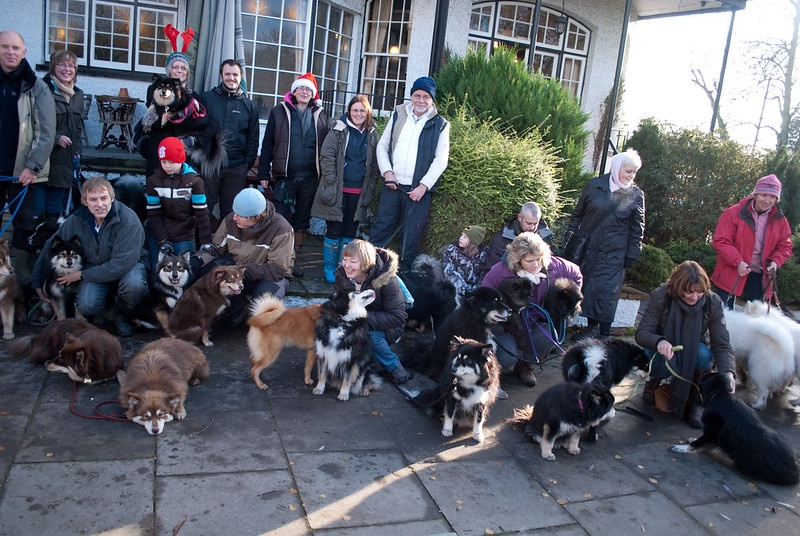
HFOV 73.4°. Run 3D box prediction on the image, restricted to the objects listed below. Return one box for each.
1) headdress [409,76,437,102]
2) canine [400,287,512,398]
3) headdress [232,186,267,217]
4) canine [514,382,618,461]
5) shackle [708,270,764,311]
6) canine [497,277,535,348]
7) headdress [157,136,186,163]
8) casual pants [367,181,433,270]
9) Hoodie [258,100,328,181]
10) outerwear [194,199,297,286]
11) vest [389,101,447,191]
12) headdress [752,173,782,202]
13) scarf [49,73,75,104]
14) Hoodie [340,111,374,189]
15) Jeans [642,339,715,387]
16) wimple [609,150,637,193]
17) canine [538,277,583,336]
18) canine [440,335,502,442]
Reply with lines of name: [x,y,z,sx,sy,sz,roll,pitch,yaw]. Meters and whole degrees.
headdress: [0.350,-2.663,7.803,0.364,0.316,0.383,12,-1,-4]
canine: [0.886,0.612,6.359,1.244,1.250,0.821,24,27,12]
headdress: [-1.771,-0.833,6.439,0.287,0.228,0.364,12,34,-14]
canine: [1.504,1.352,5.412,0.992,0.719,0.480,24,20,39]
shackle: [4.538,0.287,7.242,0.529,0.163,0.143,-23,9,18]
canine: [1.331,0.502,6.214,0.393,0.719,0.545,-8,23,-2]
headdress: [-2.762,-1.439,6.577,0.294,0.260,0.316,18,15,-15]
casual pants: [0.035,-0.601,7.536,0.695,1.469,0.397,28,22,12]
Hoodie: [-1.521,-1.810,7.808,1.332,1.292,0.711,-2,8,-28]
outerwear: [-1.835,-0.340,6.620,0.999,0.895,0.439,11,16,12]
vest: [0.255,-1.706,7.699,0.998,1.121,0.600,17,11,12]
headdress: [4.981,-1.112,7.264,0.268,0.288,0.280,19,19,37]
scarf: [-4.402,-2.331,7.008,0.258,0.183,0.326,3,-3,-10]
Hoodie: [-0.594,-1.619,7.690,0.636,0.865,0.314,0,2,-15]
Jeans: [3.081,1.067,6.119,0.531,0.532,0.211,-31,7,9]
wimple: [3.088,-1.333,7.422,0.341,0.575,0.300,13,17,19]
canine: [1.910,0.413,6.418,0.435,0.696,0.300,4,20,0]
canine: [0.679,1.112,5.356,0.560,1.027,1.010,6,18,9]
